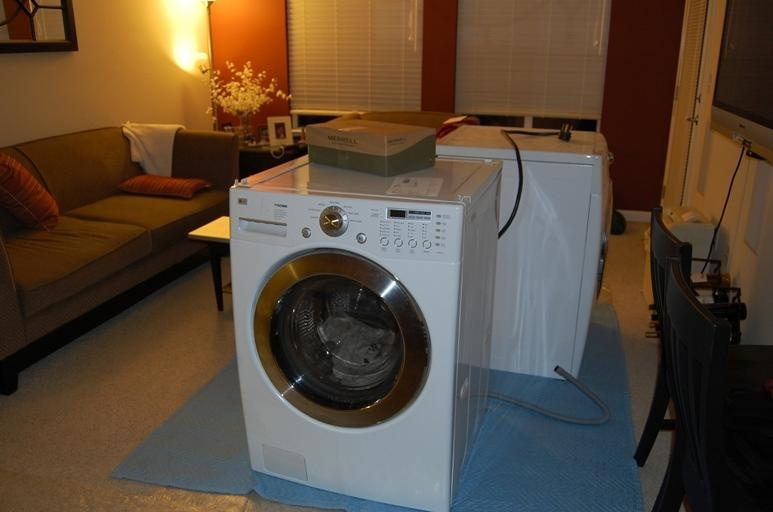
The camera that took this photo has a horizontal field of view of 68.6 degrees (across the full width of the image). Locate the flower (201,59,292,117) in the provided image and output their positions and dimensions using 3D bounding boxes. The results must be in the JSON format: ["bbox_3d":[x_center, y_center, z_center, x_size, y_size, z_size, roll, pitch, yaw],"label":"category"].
[{"bbox_3d":[-1.472,-1.648,5.791,0.830,0.585,0.869,0,23,1],"label":"flower"}]

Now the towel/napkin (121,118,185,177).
[{"bbox_3d":[-1.962,-0.912,4.770,0.432,0.457,0.159,3,-2,-17],"label":"towel/napkin"}]

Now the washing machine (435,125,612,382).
[{"bbox_3d":[0.885,-0.217,3.546,1.190,1.603,1.123,2,25,10],"label":"washing machine"}]
